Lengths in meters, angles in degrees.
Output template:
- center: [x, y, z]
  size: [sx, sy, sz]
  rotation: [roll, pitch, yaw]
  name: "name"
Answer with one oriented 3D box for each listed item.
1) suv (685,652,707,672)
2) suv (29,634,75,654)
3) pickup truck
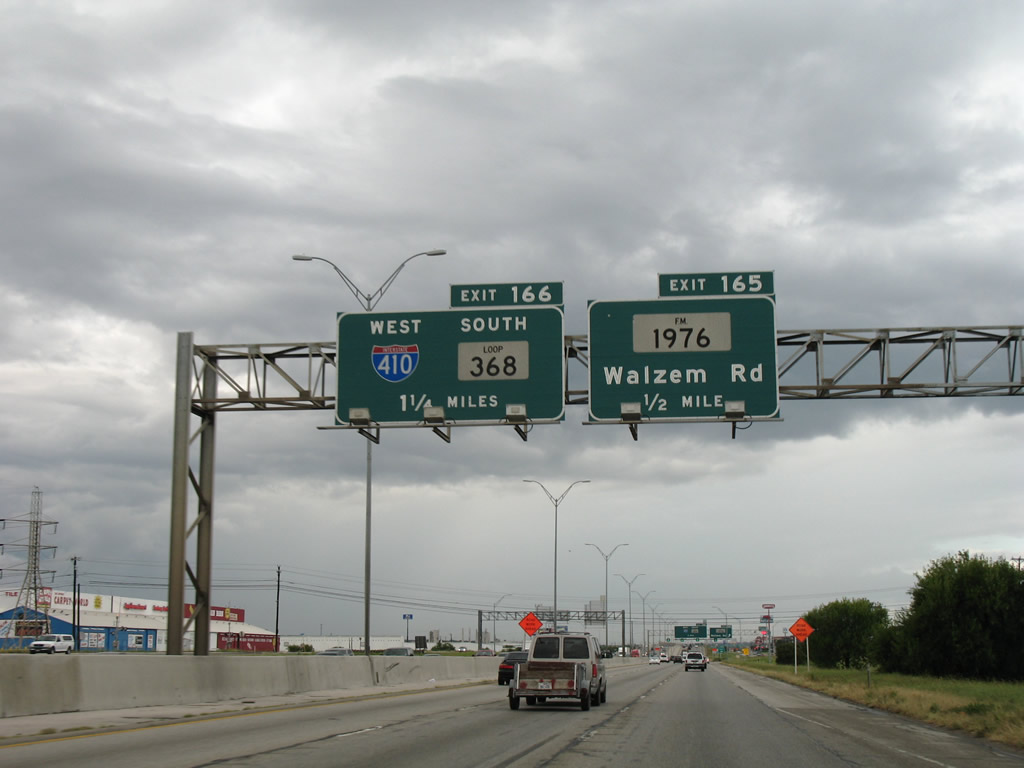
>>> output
- center: [13.569, 20.350, 108.848]
  size: [1.136, 0.913, 1.934]
  rotation: [0, 1, 6]
  name: "suv"
- center: [-30.025, 16.861, 97.010]
  size: [2.251, 1.307, 6.638]
  rotation: [3, -13, -14]
  name: "suv"
- center: [1.663, 9.970, 51.524]
  size: [2.837, 2.585, 3.915]
  rotation: [-3, -12, 12]
  name: "pickup truck"
